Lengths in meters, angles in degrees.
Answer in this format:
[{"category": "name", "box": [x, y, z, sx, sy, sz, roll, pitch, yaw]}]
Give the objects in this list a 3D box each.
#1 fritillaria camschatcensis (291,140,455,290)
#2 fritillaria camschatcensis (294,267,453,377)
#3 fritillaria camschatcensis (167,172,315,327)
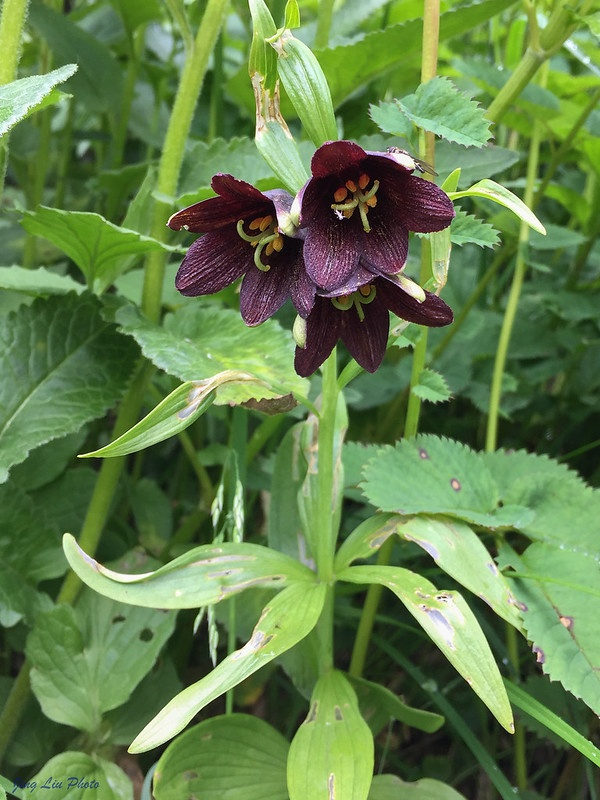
[{"category": "fritillaria camschatcensis", "box": [0.046, -0.142, 0.582, 0.119, 0.105, 0.070, -8, 28, -23]}, {"category": "fritillaria camschatcensis", "box": [0.049, -0.065, 0.637, 0.102, 0.091, 0.061, -4, 32, 4]}, {"category": "fritillaria camschatcensis", "box": [-0.041, -0.117, 0.608, 0.122, 0.125, 0.074, 7, 26, 8]}]
